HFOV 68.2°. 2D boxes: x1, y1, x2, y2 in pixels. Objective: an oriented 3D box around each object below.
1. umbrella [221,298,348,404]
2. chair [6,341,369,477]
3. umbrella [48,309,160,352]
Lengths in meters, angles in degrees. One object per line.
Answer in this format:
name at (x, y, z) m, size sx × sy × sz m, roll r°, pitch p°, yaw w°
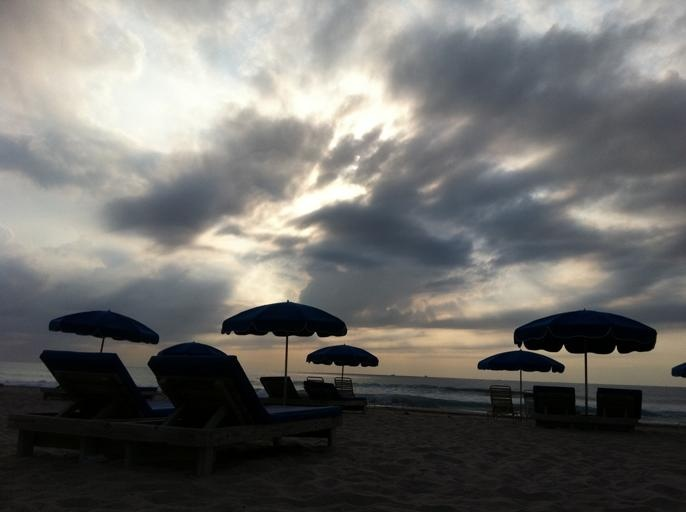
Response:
umbrella at (-1.231, 2.317, 10.991) m, size 2.678 × 2.736 × 2.656 m, roll 3°, pitch -6°, yaw -4°
chair at (-2.641, 2.234, 7.513) m, size 4.262 × 1.576 × 2.217 m, roll -1°, pitch -15°, yaw 10°
umbrella at (-5.489, 1.573, 11.275) m, size 1.662 × 1.062 × 1.706 m, roll -8°, pitch -29°, yaw 31°
